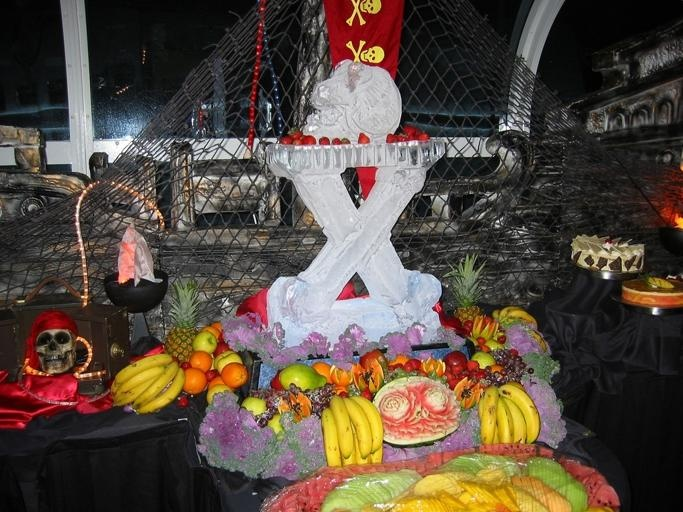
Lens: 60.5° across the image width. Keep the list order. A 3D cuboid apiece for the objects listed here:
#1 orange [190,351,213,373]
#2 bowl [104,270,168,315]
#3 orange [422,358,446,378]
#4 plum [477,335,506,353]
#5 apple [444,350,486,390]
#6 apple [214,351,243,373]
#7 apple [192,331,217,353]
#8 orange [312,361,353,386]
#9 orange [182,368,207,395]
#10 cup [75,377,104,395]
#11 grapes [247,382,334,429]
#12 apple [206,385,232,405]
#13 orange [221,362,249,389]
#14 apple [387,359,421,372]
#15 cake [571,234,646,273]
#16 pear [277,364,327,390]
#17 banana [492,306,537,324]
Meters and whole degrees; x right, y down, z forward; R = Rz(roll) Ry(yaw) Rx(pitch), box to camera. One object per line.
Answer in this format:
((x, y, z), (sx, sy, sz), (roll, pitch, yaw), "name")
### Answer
((-0.938, 0.709, 3.969), (0.123, 0.131, 0.126), (28, -10, 5), "orange")
((-1.483, 0.265, 4.241), (0.410, 0.278, 0.406), (1, 6, 0), "bowl")
((0.572, 0.698, 3.621), (0.099, 0.084, 0.121), (-1, 6, 0), "orange")
((1.029, 0.612, 4.030), (0.106, 0.081, 0.136), (-5, 10, -27), "plum")
((0.755, 0.712, 3.659), (0.175, 0.078, 0.188), (1, 24, 8), "apple")
((-0.763, 0.703, 3.977), (0.135, 0.144, 0.142), (-9, 6, 26), "apple")
((-0.952, 0.599, 4.089), (0.139, 0.155, 0.138), (6, 11, -30), "apple")
((-0.046, 0.714, 3.661), (0.203, 0.095, 0.119), (18, 10, 27), "orange")
((-0.952, 0.821, 3.794), (0.144, 0.159, 0.146), (-1, -30, 3), "orange")
((-1.613, 0.850, 3.757), (0.157, 0.097, 0.111), (4, -1, -7), "cup")
((-0.266, 0.856, 3.444), (0.381, 0.116, 0.260), (-15, 31, -3), "grapes")
((-0.769, 0.856, 3.653), (0.144, 0.158, 0.157), (6, -2, -13), "apple")
((-0.702, 0.793, 3.876), (0.158, 0.185, 0.154), (-41, 4, -24), "orange")
((0.387, 0.687, 3.671), (0.148, 0.058, 0.090), (0, 16, 16), "apple")
((2.140, -0.076, 4.575), (0.344, 0.145, 0.350), (-6, 10, -37), "cake")
((-0.235, 0.747, 3.577), (0.202, 0.143, 0.156), (6, -1, -10), "pear")
((1.304, 0.446, 4.385), (0.171, 0.074, 0.219), (3, -4, -18), "banana")
